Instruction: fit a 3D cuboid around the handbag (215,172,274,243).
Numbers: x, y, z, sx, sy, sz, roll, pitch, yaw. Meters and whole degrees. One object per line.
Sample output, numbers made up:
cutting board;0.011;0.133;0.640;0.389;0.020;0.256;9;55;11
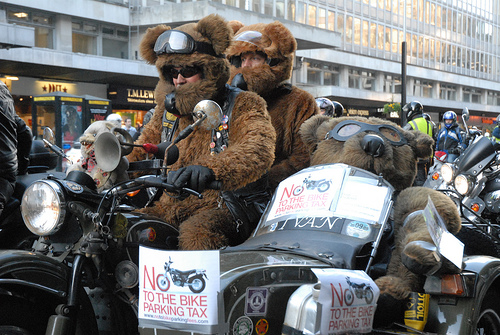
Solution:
handbag;-0.053;0.378;6.071;0.576;0.307;0.734;-16;5;-25

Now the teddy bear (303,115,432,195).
teddy bear;1.078;-0.297;5.822;1.023;0.762;0.757;12;-19;3

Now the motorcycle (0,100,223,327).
motorcycle;-1.141;0.344;4.843;1.372;1.844;1.043;6;3;-6

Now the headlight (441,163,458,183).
headlight;2.841;0.070;8.996;0.181;0.326;0.241;-8;11;-43

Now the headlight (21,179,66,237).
headlight;-1.549;0.294;4.732;0.330;0.414;0.090;6;3;12

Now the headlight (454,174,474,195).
headlight;2.984;0.230;8.772;0.131;0.219;0.221;-12;19;-34
